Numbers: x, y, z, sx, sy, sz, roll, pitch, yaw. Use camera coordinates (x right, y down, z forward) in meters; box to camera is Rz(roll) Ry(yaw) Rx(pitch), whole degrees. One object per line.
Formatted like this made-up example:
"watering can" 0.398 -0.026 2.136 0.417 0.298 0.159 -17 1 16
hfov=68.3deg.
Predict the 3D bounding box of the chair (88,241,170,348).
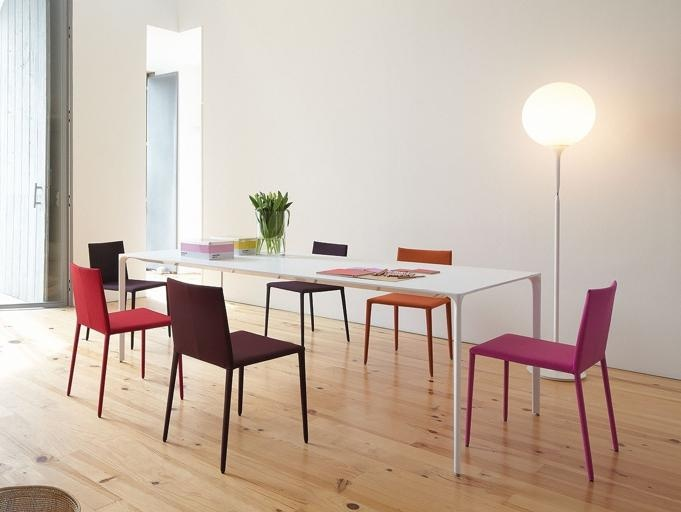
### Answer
"chair" -2.120 0.327 4.643 0.450 0.776 0.536 8 -6 -5

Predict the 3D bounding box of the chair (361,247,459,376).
"chair" 0.550 0.399 3.986 0.547 0.919 0.630 2 3 25

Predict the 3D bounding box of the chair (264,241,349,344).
"chair" -0.284 0.315 4.394 0.628 0.888 0.613 -2 6 -31

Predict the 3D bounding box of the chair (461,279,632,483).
"chair" 1.082 0.553 2.923 0.978 1.378 0.718 4 3 34

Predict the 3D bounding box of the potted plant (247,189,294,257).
"potted plant" -0.516 -0.242 3.693 0.264 0.455 0.220 -2 11 -11

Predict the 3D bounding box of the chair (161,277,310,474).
"chair" -0.584 0.583 2.794 0.648 0.932 0.583 -4 8 -45
